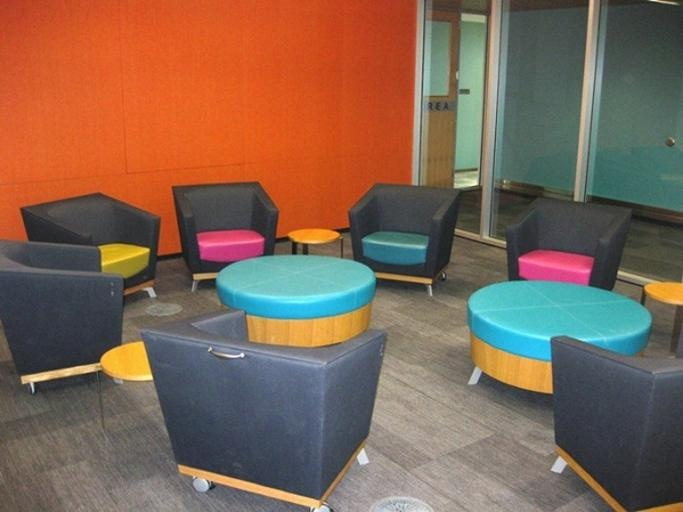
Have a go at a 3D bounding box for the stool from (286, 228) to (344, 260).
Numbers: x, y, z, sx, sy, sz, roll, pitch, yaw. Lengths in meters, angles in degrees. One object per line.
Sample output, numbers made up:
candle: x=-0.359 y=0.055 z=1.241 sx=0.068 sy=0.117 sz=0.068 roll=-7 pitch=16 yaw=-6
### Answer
stool: x=-0.333 y=-0.145 z=6.141 sx=0.519 sy=0.292 sz=0.495 roll=-1 pitch=14 yaw=-2

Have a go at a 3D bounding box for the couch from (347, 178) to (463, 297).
couch: x=0.792 y=-0.087 z=6.338 sx=1.647 sy=1.453 sz=1.238 roll=8 pitch=20 yaw=25
